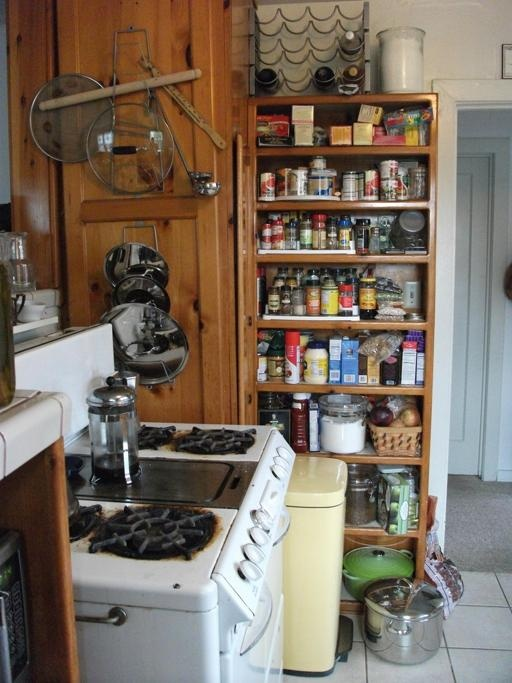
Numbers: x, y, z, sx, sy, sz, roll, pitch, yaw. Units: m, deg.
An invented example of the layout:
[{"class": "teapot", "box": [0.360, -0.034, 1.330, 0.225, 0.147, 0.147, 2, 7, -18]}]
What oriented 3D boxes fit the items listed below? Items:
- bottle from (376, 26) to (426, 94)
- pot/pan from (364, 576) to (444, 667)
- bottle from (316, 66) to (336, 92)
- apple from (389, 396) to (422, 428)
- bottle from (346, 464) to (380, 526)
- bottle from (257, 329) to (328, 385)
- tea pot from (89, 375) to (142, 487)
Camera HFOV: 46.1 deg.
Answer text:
[{"class": "bottle", "box": [0.541, -1.067, 2.318, 0.193, 0.221, 0.217, -11, 21, -15]}, {"class": "pot/pan", "box": [0.495, 0.945, 2.099, 0.265, 0.245, 0.260, -1, 2, 2]}, {"class": "bottle", "box": [0.258, -0.983, 2.275, 0.075, 0.085, 0.032, -1, 8, 8]}, {"class": "apple", "box": [0.599, 0.271, 2.406, 0.091, 0.048, 0.121, 4, 24, 21]}, {"class": "bottle", "box": [0.423, 0.626, 2.489, 0.192, 0.185, 0.190, 1, 8, 14]}, {"class": "bottle", "box": [0.142, 0.062, 2.416, 0.303, 0.277, 0.170, 1, 5, 1]}, {"class": "tea pot", "box": [-0.330, 0.197, 1.378, 0.114, 0.243, 0.109, -2, 4, 0]}]
